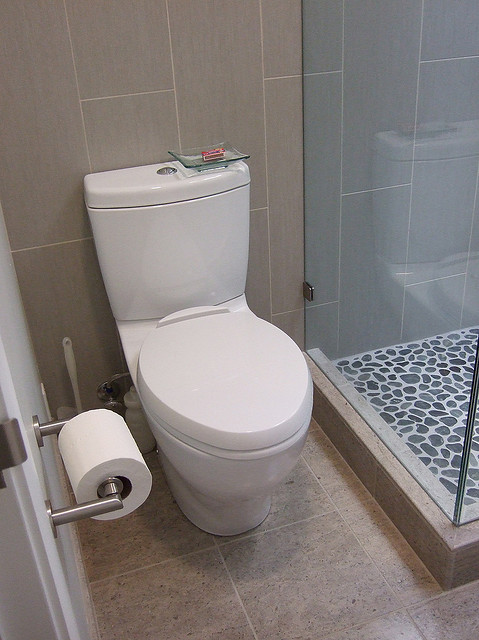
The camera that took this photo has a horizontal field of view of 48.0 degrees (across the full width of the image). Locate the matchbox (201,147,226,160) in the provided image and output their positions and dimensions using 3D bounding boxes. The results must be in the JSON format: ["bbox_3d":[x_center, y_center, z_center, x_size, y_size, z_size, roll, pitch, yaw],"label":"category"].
[{"bbox_3d":[-0.069,-0.417,1.349,0.049,0.014,0.031,-8,52,-7],"label":"matchbox"}]

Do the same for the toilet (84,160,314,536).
[{"bbox_3d":[-0.106,0.052,1.259,0.513,0.812,0.603,-10,31,-17],"label":"toilet"}]
